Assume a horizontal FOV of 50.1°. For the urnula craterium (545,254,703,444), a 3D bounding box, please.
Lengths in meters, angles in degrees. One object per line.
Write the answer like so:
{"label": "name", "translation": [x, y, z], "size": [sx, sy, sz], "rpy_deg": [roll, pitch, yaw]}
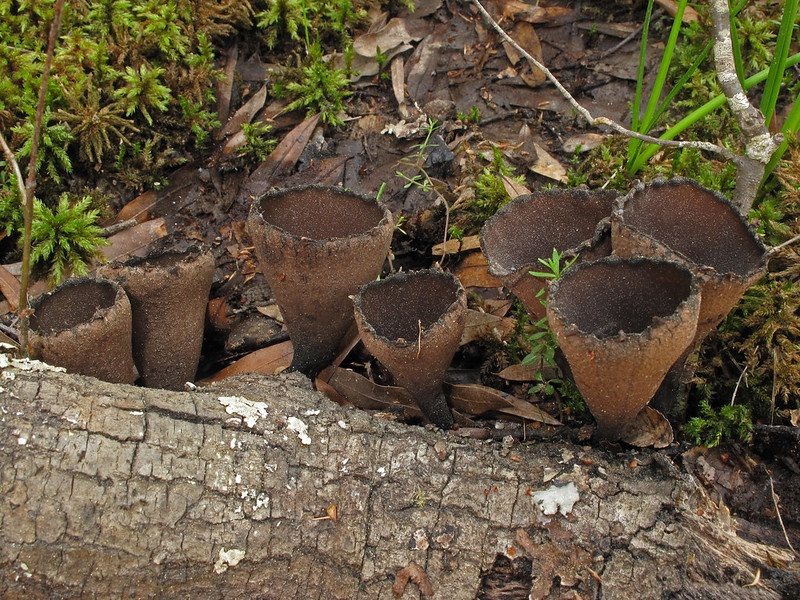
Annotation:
{"label": "urnula craterium", "translation": [0.945, 0.109, 3.580], "size": [0.683, 0.873, 0.688], "rpy_deg": [7, 35, 22]}

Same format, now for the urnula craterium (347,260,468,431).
{"label": "urnula craterium", "translation": [0.102, 0.286, 3.788], "size": [0.451, 0.729, 0.458], "rpy_deg": [-8, 34, 7]}
